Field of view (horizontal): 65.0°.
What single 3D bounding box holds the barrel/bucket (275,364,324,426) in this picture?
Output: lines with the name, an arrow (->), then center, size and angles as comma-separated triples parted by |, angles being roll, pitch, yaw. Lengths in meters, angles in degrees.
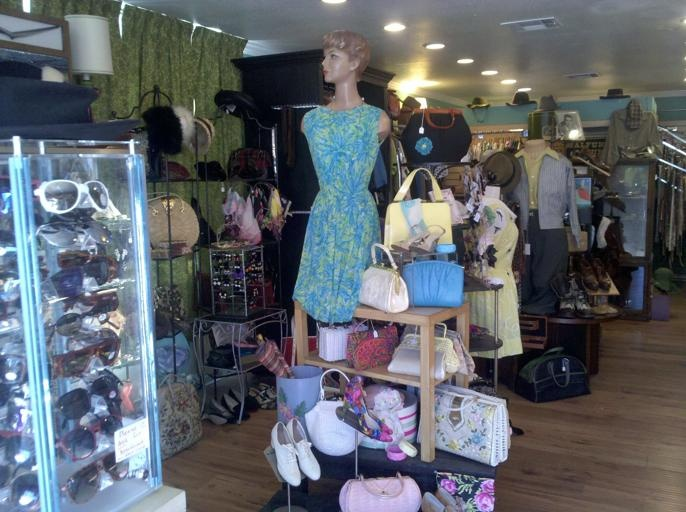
barrel/bucket -> -0.241, 0.687, 2.817 | 0.270, 0.319, 0.277 | 2, 7, 0

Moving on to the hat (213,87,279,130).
hat -> -0.735, -1.151, 4.102 | 0.396, 0.148, 0.407 | 16, -3, 30

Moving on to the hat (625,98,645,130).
hat -> 3.435, -1.678, 6.364 | 0.201, 0.363, 0.187 | -7, 11, -37

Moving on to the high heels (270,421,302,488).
high heels -> -0.280, 0.864, 2.468 | 0.109, 0.333, 0.138 | -7, -29, -22

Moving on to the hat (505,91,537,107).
hat -> 2.585, -2.259, 7.799 | 0.332, 0.153, 0.388 | 4, 19, 26

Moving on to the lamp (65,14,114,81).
lamp -> -1.433, -1.205, 3.034 | 0.273, 0.299, 0.269 | -13, 32, -44

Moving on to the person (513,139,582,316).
person -> 1.642, -0.244, 4.394 | 0.507, 1.393, 0.385 | 3, 9, 23

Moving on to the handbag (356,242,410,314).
handbag -> 0.196, 0.115, 2.638 | 0.134, 0.319, 0.321 | -1, 6, -26

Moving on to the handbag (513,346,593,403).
handbag -> 1.620, 0.932, 4.135 | 0.538, 0.398, 0.327 | -3, 0, -18

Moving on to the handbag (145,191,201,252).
handbag -> -1.062, -0.229, 3.504 | 0.352, 0.348, 0.080 | -11, 9, -42

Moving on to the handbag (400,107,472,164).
handbag -> 0.632, -0.761, 3.699 | 0.432, 0.321, 0.381 | 1, 8, 8
